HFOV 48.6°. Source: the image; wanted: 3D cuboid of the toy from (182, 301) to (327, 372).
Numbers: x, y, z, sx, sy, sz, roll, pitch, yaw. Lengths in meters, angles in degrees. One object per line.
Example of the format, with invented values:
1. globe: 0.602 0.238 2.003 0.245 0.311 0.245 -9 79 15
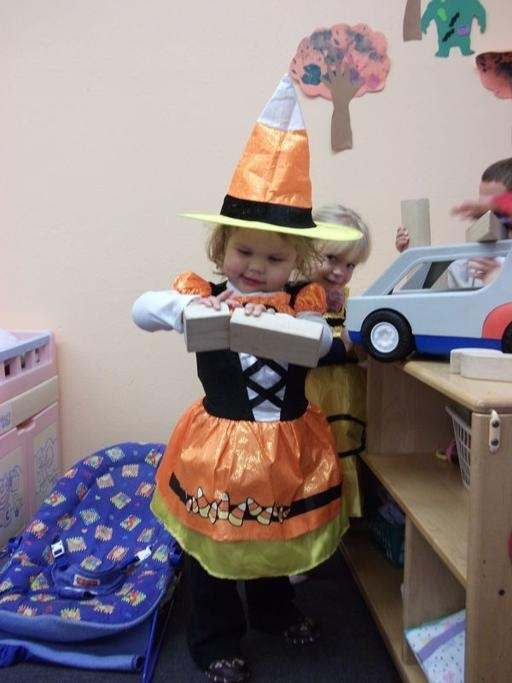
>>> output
1. toy: 0.003 -0.002 0.915 0.213 0.133 0.154 -1 19 5

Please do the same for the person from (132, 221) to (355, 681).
1. person: -0.019 0.205 1.043 0.357 0.808 0.389 -7 19 -11

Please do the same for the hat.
1. hat: 0.033 -0.304 0.950 0.261 0.271 0.201 2 19 14
